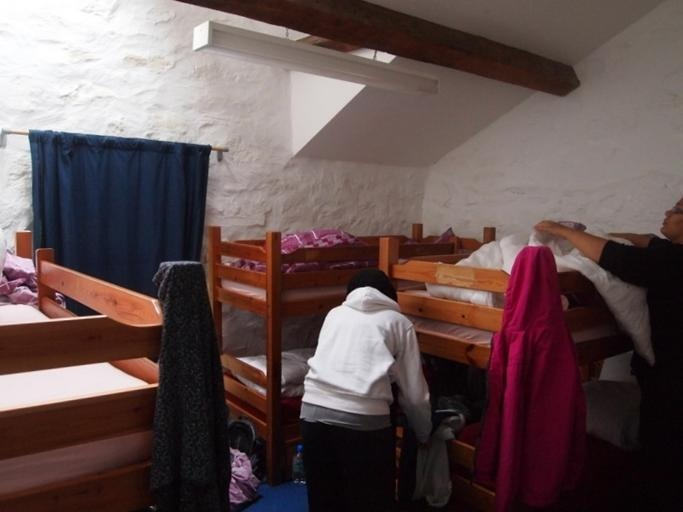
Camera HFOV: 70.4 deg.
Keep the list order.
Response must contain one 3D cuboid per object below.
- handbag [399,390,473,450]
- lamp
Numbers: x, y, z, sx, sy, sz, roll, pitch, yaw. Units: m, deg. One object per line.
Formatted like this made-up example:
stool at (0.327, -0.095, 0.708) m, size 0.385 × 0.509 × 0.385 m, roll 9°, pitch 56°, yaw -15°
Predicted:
handbag at (0.576, 0.921, 2.733) m, size 0.255 × 0.103 × 0.258 m, roll -2°, pitch 0°, yaw -23°
lamp at (-0.123, -1.185, 2.964) m, size 1.505 × 0.154 × 0.206 m, roll 0°, pitch 6°, yaw -27°
